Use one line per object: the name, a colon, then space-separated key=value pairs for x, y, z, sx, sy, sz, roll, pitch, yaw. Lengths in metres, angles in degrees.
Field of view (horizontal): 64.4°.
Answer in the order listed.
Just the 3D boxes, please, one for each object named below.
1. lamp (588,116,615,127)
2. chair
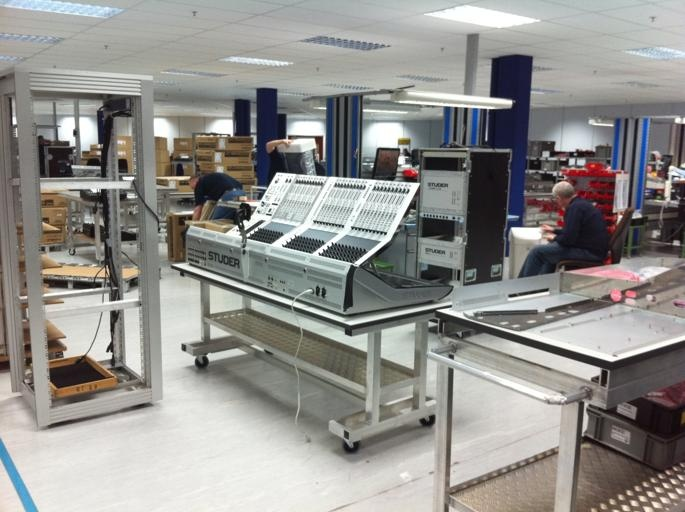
lamp: x=7.286 y=-3.770 z=15.196 sx=0.613 sy=0.261 sz=4.076 roll=4 pitch=11 yaw=25
chair: x=2.664 y=-0.169 z=5.538 sx=0.717 sy=0.627 sz=0.371 roll=-7 pitch=14 yaw=-28
